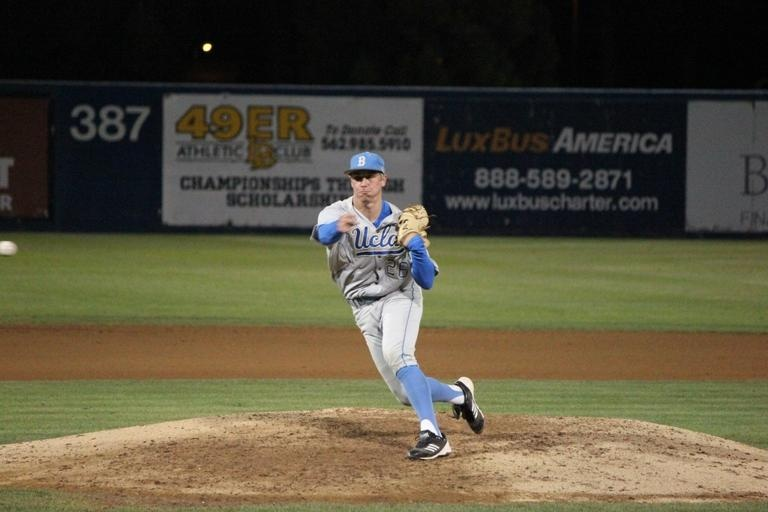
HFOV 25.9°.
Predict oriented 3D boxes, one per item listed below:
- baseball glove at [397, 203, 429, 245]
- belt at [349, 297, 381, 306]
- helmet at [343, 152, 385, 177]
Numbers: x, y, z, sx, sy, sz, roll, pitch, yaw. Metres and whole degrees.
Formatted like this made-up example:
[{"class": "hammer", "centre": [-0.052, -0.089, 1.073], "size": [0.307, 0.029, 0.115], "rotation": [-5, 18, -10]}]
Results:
[{"class": "baseball glove", "centre": [0.439, -0.499, 26.286], "size": [0.420, 0.648, 0.339], "rotation": [4, -2, 1]}, {"class": "belt", "centre": [-0.331, 0.713, 26.391], "size": [0.280, 0.099, 0.209], "rotation": [-14, 5, 5]}, {"class": "helmet", "centre": [-0.194, -1.448, 26.421], "size": [0.423, 0.298, 0.557], "rotation": [-1, -1, 35]}]
